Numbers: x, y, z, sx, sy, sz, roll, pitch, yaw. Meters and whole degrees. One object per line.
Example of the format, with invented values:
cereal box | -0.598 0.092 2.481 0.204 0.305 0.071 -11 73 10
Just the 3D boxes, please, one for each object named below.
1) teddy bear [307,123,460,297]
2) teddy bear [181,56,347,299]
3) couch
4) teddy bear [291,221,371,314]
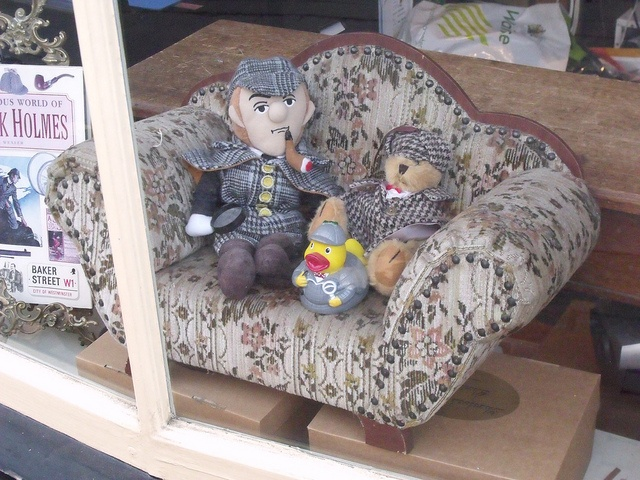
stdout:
teddy bear | 0.175 -0.088 1.811 0.382 0.402 0.367 13 22 37
teddy bear | -0.149 -0.189 1.879 0.434 0.595 0.520 6 18 -1
couch | -0.020 -0.044 1.899 1.464 0.923 0.720 10 24 29
teddy bear | 0.053 0.038 1.701 0.169 0.197 0.237 15 40 25
